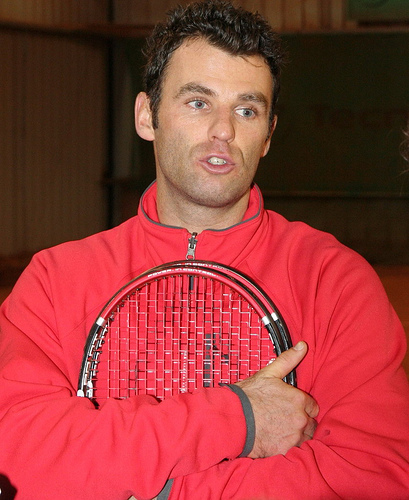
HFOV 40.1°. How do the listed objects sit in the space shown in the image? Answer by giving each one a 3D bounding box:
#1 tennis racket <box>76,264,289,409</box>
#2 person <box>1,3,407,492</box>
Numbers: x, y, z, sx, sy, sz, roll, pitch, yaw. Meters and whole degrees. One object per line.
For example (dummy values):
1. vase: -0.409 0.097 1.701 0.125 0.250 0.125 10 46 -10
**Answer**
1. tennis racket: -0.045 0.218 1.328 0.384 0.396 0.019 3 -5 20
2. person: -0.005 -0.088 1.396 1.014 1.181 0.667 4 5 5
